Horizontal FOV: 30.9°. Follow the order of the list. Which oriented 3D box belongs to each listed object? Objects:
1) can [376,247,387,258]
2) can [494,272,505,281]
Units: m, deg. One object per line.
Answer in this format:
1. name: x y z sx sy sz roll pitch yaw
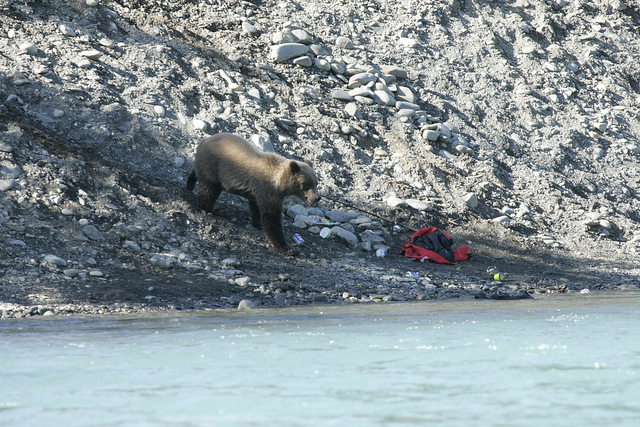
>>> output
1. can: 1.702 1.077 32.148 0.308 0.288 0.223 5 -4 -9
2. can: 4.888 1.736 31.611 0.185 0.196 0.239 -13 -22 34
